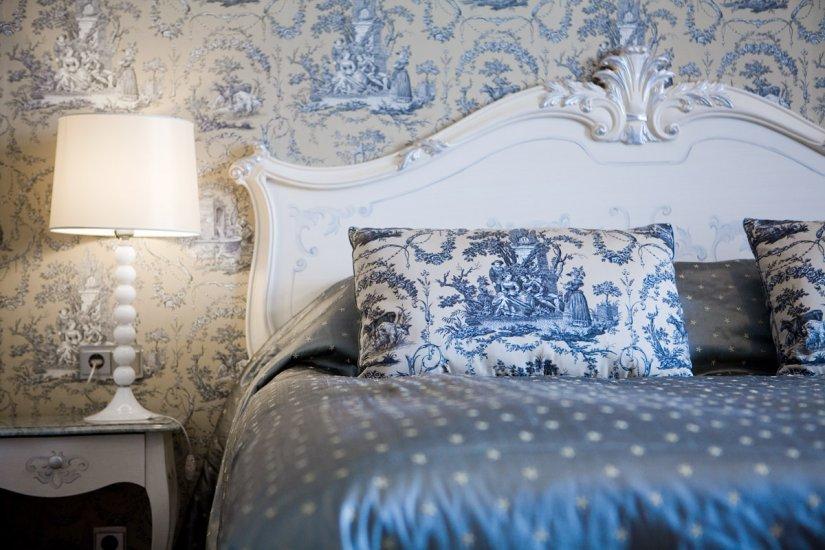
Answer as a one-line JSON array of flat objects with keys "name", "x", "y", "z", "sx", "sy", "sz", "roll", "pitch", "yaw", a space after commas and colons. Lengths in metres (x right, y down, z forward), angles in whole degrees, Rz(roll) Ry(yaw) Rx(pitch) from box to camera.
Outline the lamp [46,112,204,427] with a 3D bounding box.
[{"name": "lamp", "x": -1.088, "y": -0.009, "z": 2.622, "sx": 0.524, "sy": 1.138, "sz": 0.373, "roll": 0, "pitch": -10, "yaw": -18}]
